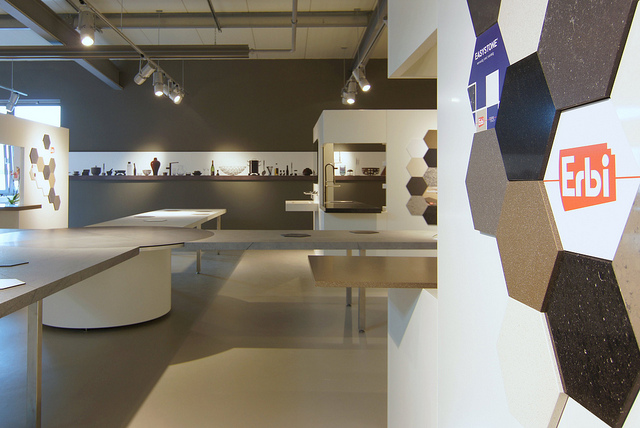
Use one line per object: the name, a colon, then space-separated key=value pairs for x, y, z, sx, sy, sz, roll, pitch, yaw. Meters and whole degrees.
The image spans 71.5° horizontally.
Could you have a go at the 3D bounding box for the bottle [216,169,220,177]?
bottle: x=-1.919 y=-0.774 z=8.358 sx=0.058 sy=0.114 sz=0.112 roll=1 pitch=6 yaw=-13

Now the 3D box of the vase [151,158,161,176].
vase: x=-3.052 y=-0.882 z=8.280 sx=0.115 sy=0.324 sz=0.189 roll=7 pitch=8 yaw=40

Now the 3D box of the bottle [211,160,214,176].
bottle: x=-2.018 y=-0.872 z=8.352 sx=0.047 sy=0.292 sz=0.131 roll=0 pitch=6 yaw=-15

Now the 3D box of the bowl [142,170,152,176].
bowl: x=-3.221 y=-0.773 z=8.259 sx=0.092 sy=0.074 sz=0.095 roll=0 pitch=-2 yaw=0

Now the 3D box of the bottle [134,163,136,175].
bottle: x=-3.471 y=-0.852 z=8.332 sx=0.032 sy=0.185 sz=0.089 roll=-1 pitch=7 yaw=-29

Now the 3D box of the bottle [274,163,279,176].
bottle: x=-0.814 y=-0.849 z=8.404 sx=0.084 sy=0.235 sz=0.160 roll=1 pitch=6 yaw=-8

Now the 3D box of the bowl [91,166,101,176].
bowl: x=-4.128 y=-0.796 z=8.167 sx=0.130 sy=0.100 sz=0.121 roll=-2 pitch=-1 yaw=0

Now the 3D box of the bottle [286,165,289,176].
bottle: x=-0.609 y=-0.803 z=8.420 sx=0.049 sy=0.140 sz=0.125 roll=1 pitch=6 yaw=-5

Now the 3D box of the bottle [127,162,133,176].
bottle: x=-3.538 y=-0.828 z=8.265 sx=0.088 sy=0.219 sz=0.110 roll=0 pitch=6 yaw=-20
